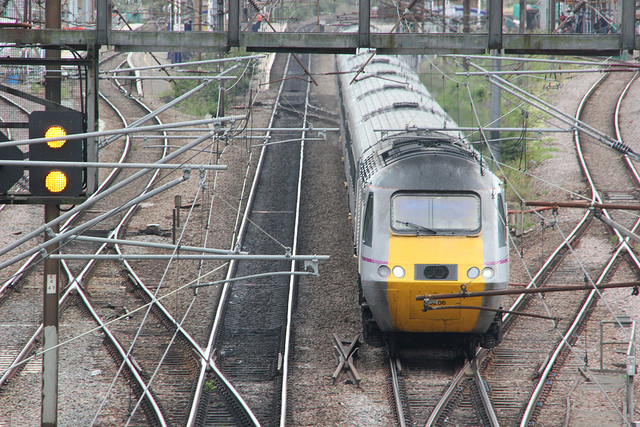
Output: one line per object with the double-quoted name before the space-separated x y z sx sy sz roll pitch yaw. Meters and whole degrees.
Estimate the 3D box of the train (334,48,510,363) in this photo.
"train" 4.271 -1.491 47.356 3.394 5.066 20.300 -2 26 -1
